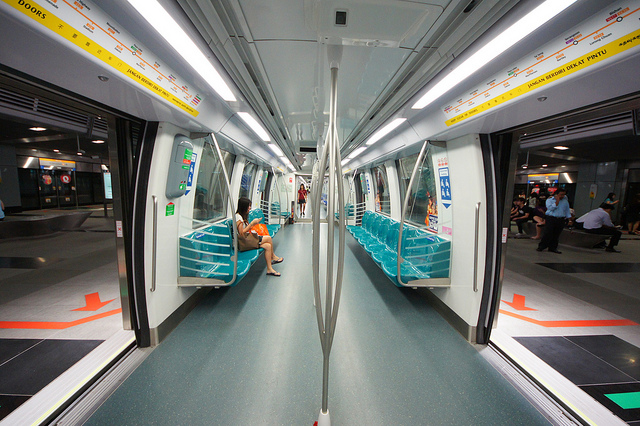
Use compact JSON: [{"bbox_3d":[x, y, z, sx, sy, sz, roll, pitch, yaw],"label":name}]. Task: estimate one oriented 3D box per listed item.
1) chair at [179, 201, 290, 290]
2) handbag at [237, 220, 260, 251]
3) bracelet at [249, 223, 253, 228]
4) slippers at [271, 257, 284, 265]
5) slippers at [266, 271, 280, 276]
[{"bbox_3d":[-1.417,0.485,4.596,0.816,0.996,1.441,2,4,0],"label":"chair"},{"bbox_3d":[-1.300,0.416,5.435,0.305,0.487,0.503,-4,-5,44],"label":"handbag"},{"bbox_3d":[-1.131,0.208,5.164,0.060,0.053,0.059,4,4,2],"label":"bracelet"},{"bbox_3d":[-0.819,0.945,6.190,0.188,0.053,0.097,-8,12,-36],"label":"slippers"},{"bbox_3d":[-0.819,1.069,5.571,0.178,0.061,0.096,0,0,6],"label":"slippers"}]
